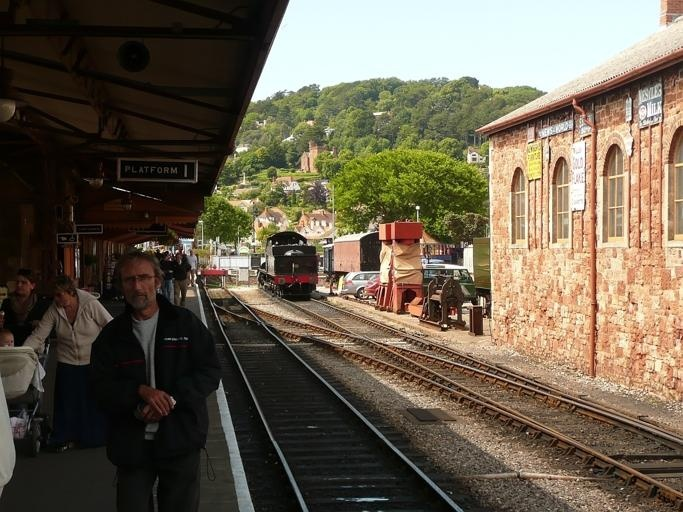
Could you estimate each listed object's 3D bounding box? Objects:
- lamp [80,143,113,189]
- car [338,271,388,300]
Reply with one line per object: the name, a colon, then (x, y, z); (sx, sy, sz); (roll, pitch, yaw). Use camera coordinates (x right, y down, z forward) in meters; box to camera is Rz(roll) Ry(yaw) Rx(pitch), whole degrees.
lamp: (-6.099, -2.225, 15.428); (0.759, 1.068, 4.311); (1, -2, -22)
car: (1.330, 1.748, 38.300); (2.581, 1.043, 1.234); (-3, 3, -5)
